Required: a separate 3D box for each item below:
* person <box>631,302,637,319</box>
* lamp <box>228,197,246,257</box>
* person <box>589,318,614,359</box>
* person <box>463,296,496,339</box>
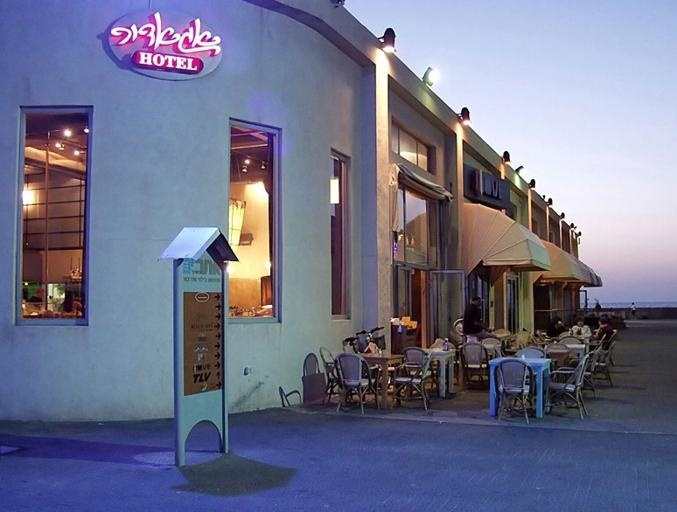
[{"bbox_3d":[29.040,5.373,56.767,0.298,1.504,2.216,-1,-5,26],"label":"person"},{"bbox_3d":[-2.014,-0.594,11.115,0.207,1.026,0.564,-1,-4,23],"label":"lamp"},{"bbox_3d":[7.649,2.434,16.992,0.602,1.359,0.518,9,14,14],"label":"person"},{"bbox_3d":[3.836,1.655,15.687,0.768,1.204,0.758,-1,-3,39],"label":"person"}]
